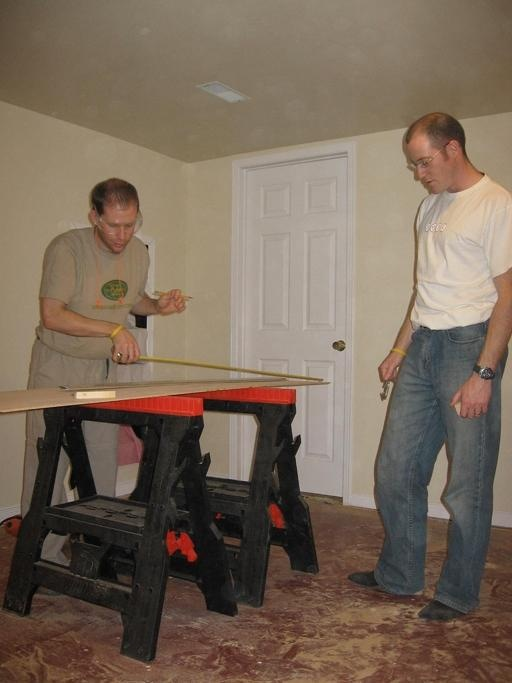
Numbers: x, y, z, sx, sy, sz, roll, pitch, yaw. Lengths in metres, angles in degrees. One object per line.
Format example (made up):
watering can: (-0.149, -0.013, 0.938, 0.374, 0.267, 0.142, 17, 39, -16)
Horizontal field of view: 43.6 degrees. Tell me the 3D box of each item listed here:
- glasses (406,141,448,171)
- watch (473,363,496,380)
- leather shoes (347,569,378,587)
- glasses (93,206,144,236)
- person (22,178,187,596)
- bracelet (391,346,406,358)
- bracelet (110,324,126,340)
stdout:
glasses: (0.529, -0.552, 1.921, 0.073, 0.021, 0.070, -36, 22, -22)
watch: (0.652, 0.091, 1.818, 0.056, 0.033, 0.057, 1, -12, -15)
leather shoes: (0.378, 0.832, 2.266, 0.117, 0.044, 0.038, 2, 1, 42)
glasses: (-0.474, -0.392, 2.186, 0.109, 0.068, 0.136, -4, -5, -42)
person: (-0.602, 0.112, 2.247, 0.544, 1.333, 0.609, 0, -2, 13)
bracelet: (0.499, 0.039, 2.230, 0.038, 0.025, 0.037, -9, 15, -37)
bracelet: (-0.438, -0.024, 2.071, 0.012, 0.041, 0.045, 37, -25, -22)
